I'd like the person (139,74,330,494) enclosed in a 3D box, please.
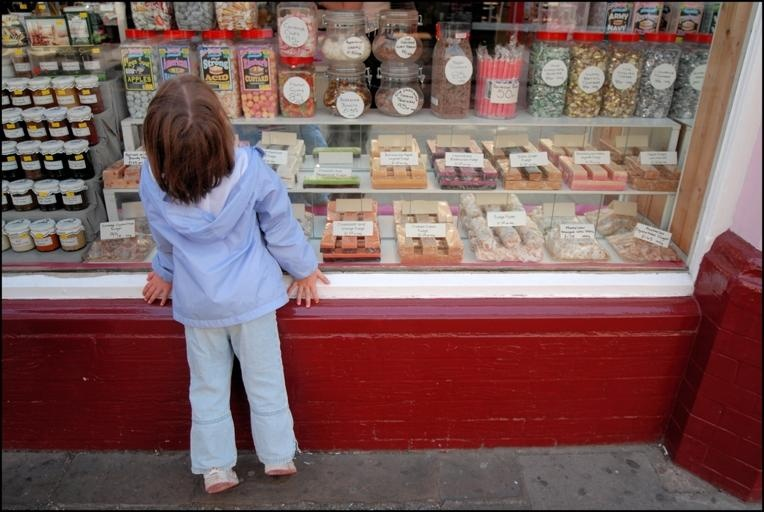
[{"bbox_3d":[-0.703,0.205,2.494,0.761,2.074,0.535,-7,27,-8],"label":"person"}]
